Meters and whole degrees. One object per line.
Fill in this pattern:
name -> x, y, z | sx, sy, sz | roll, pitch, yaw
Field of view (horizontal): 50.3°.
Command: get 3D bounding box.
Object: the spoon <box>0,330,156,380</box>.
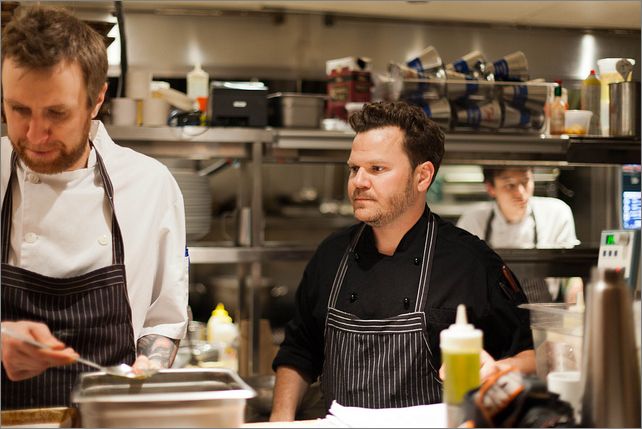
spoon -> -0.790, 0.444, 2.158 | 0.510, 0.056, 0.094 | 16, -12, 3

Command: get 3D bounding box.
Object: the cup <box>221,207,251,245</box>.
cup -> -0.438, 0.045, 3.214 | 0.139, 0.181, 0.167 | 6, 8, 34

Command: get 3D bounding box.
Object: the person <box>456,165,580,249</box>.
person -> 1.209, -0.009, 4.239 | 0.779, 0.661, 0.406 | 4, 2, 26

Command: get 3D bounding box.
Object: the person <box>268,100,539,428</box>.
person -> 0.311, 0.158, 2.544 | 0.971, 1.151, 0.622 | 3, 10, 16

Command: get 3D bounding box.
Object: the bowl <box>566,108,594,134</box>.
bowl -> 1.245, -0.461, 3.305 | 0.121, 0.089, 0.125 | 1, -8, 0

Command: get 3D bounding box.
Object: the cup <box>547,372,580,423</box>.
cup -> 0.644, 0.508, 1.897 | 0.109, 0.106, 0.116 | 0, 0, 0

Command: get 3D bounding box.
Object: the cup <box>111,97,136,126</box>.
cup -> -0.905, -0.476, 3.127 | 0.138, 0.131, 0.123 | 2, 0, 1

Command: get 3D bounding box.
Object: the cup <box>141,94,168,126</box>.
cup -> -0.757, -0.489, 3.143 | 0.123, 0.120, 0.132 | 1, -1, 0
